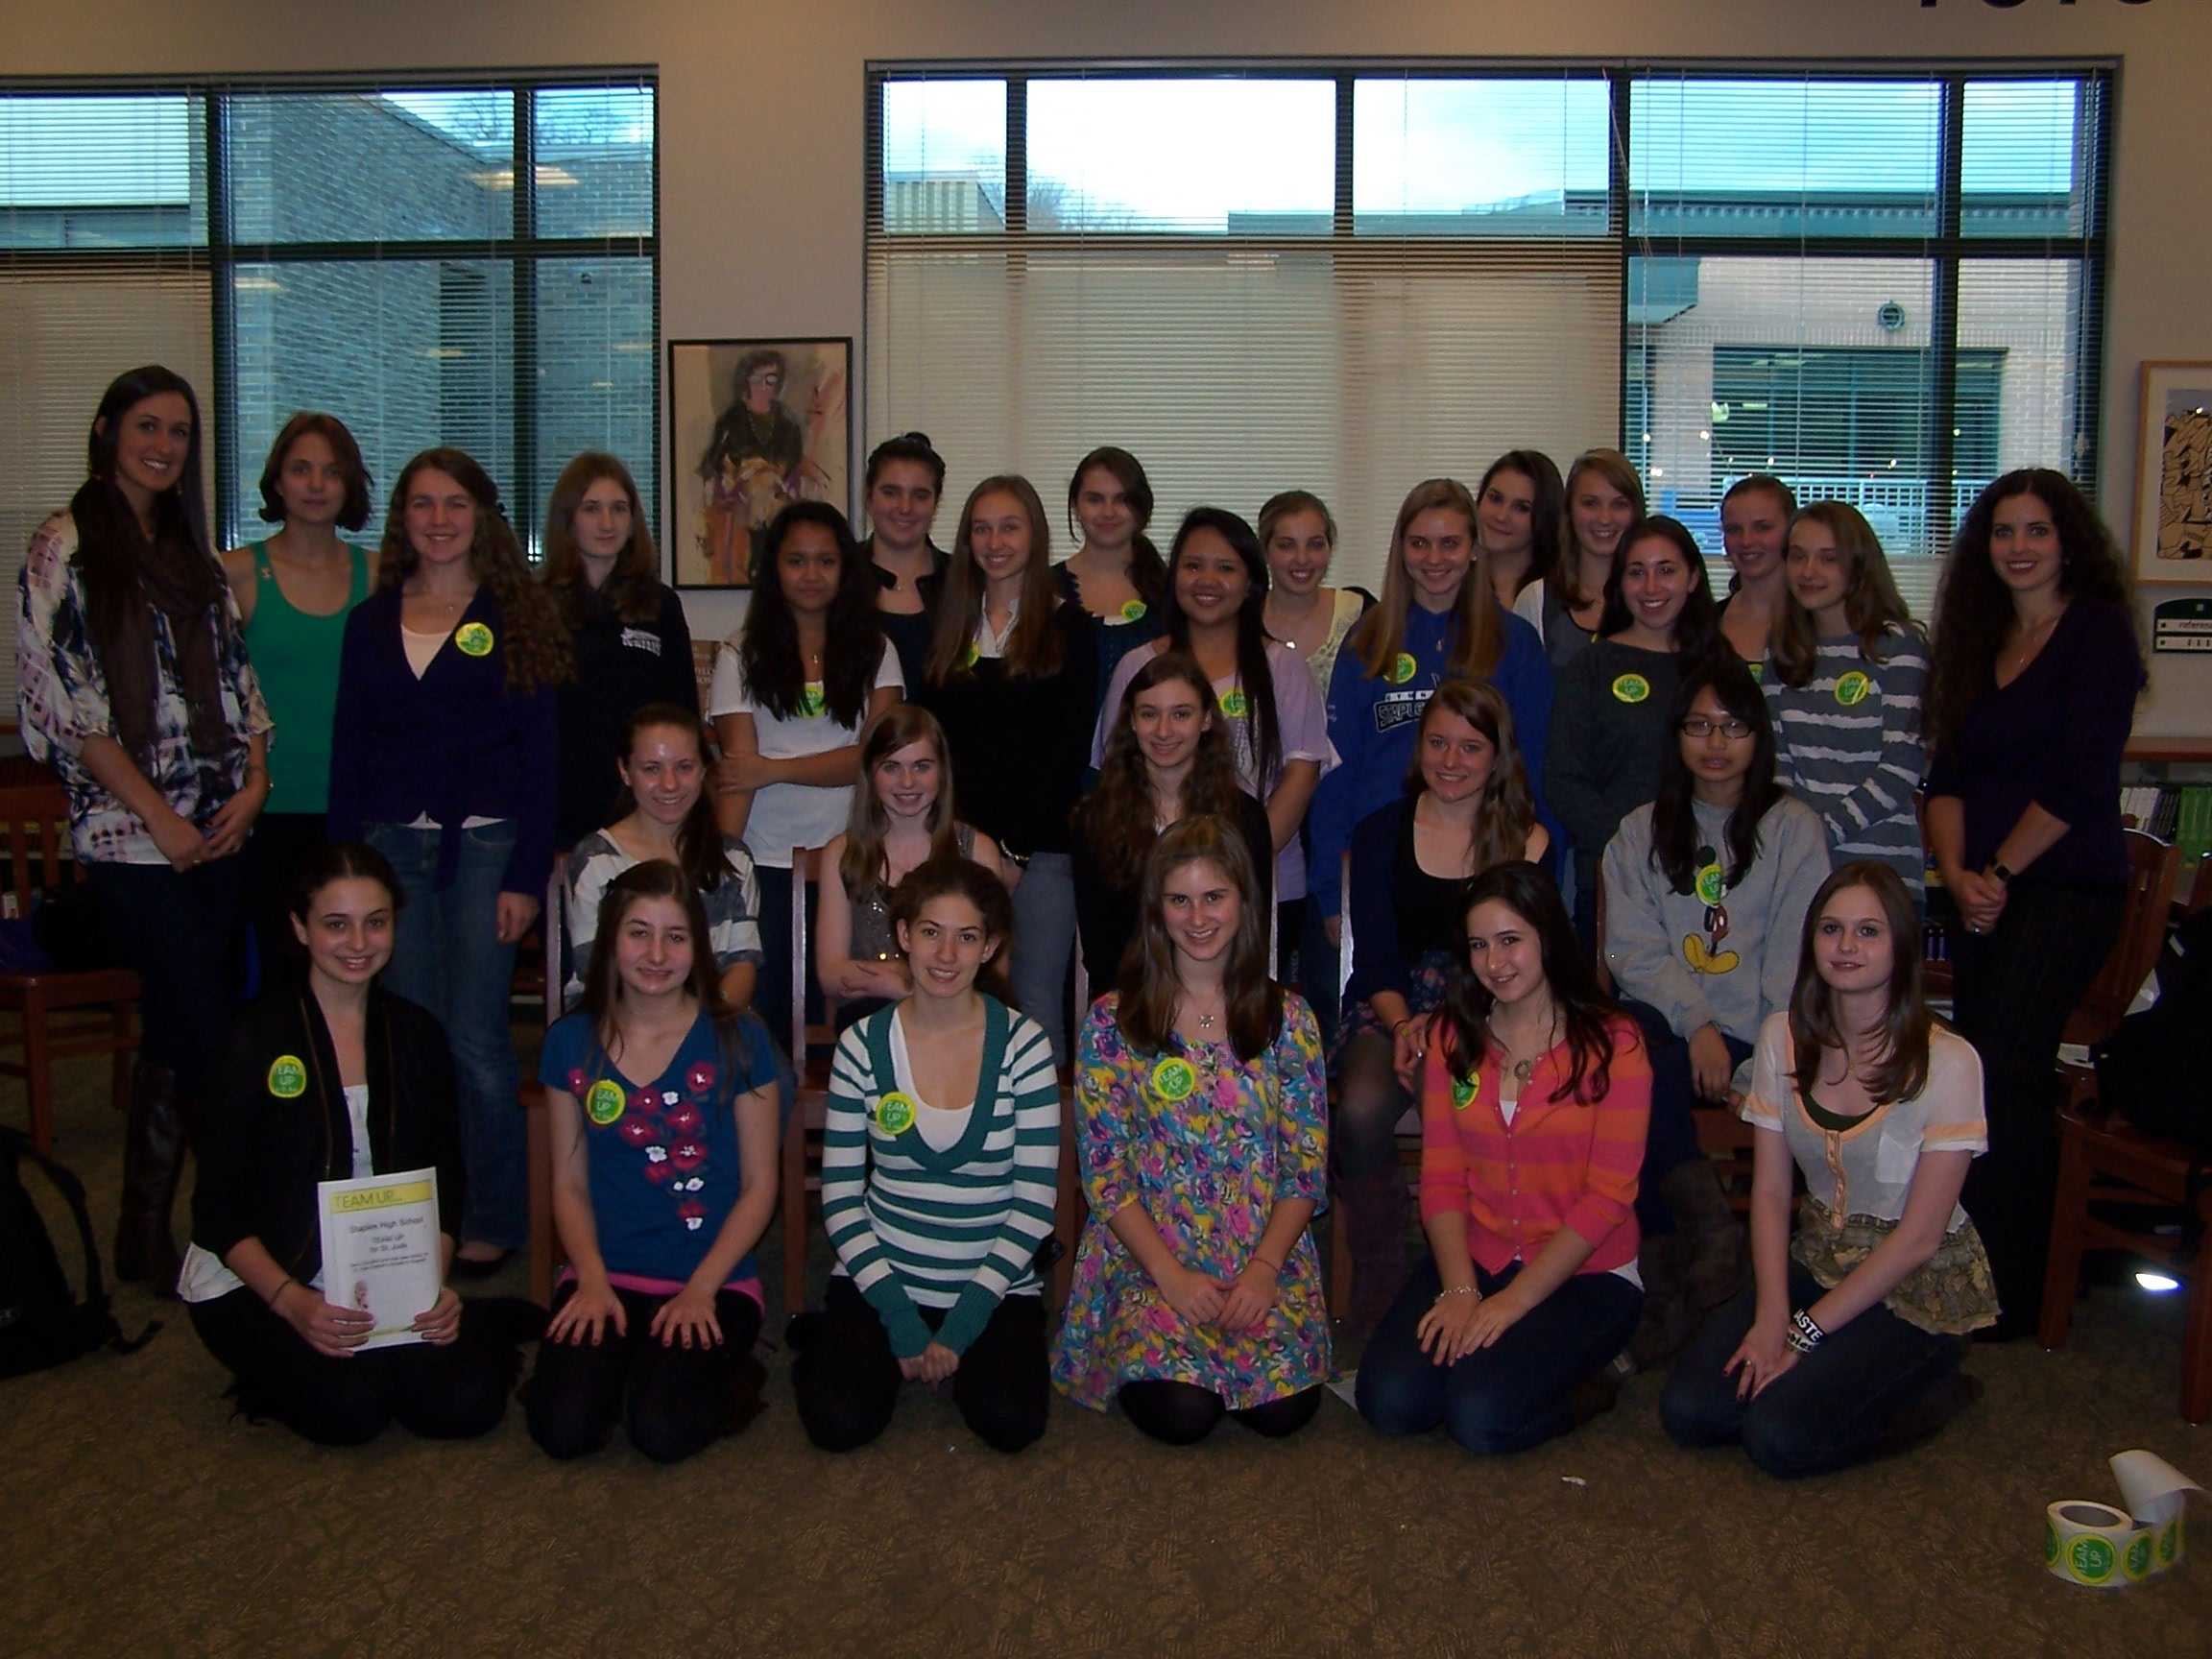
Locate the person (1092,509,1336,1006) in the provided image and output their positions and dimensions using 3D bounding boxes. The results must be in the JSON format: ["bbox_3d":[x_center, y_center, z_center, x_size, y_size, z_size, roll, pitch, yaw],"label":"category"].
[{"bbox_3d":[0.292,0.025,4.988,0.656,1.629,0.522,-3,5,-6],"label":"person"}]

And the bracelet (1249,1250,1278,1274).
[{"bbox_3d":[0.323,0.903,4.050,0.054,0.029,0.051,4,14,16],"label":"bracelet"}]

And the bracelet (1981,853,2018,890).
[{"bbox_3d":[2.098,0.098,4.584,0.058,0.018,0.060,35,-14,14],"label":"bracelet"}]

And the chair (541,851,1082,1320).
[{"bbox_3d":[-0.680,0.499,4.601,0.762,1.301,1.116,-3,6,-26],"label":"chair"}]

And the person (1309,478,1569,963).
[{"bbox_3d":[0.865,-0.096,5.278,0.644,1.646,0.455,3,7,18],"label":"person"}]

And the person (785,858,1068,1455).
[{"bbox_3d":[-0.382,0.801,4.098,0.558,0.827,0.547,-1,14,-3],"label":"person"}]

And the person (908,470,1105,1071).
[{"bbox_3d":[-0.289,0.037,5.068,0.450,1.939,0.581,1,3,44],"label":"person"}]

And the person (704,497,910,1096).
[{"bbox_3d":[-0.835,0.024,5.083,0.518,1.626,0.423,-3,20,-29],"label":"person"}]

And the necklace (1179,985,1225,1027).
[{"bbox_3d":[0.205,0.387,4.220,0.080,0.084,0.033,0,-14,2],"label":"necklace"}]

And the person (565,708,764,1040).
[{"bbox_3d":[-1.030,0.104,4.569,0.485,0.748,0.541,-5,18,-31],"label":"person"}]

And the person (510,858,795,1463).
[{"bbox_3d":[-0.947,0.671,4.041,0.500,1.089,0.592,-2,14,-5],"label":"person"}]

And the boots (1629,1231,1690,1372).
[{"bbox_3d":[1.216,1.033,4.290,0.091,0.285,0.211,15,-10,-22],"label":"boots"}]

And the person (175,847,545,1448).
[{"bbox_3d":[-1.579,0.646,4.044,0.697,1.145,0.533,-3,14,-11],"label":"person"}]

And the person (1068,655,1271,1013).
[{"bbox_3d":[0.122,0.084,4.942,0.560,1.316,0.362,-8,37,-11],"label":"person"}]

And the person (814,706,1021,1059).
[{"bbox_3d":[-0.464,0.143,4.646,0.541,0.814,0.523,13,20,42],"label":"person"}]

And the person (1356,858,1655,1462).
[{"bbox_3d":[0.842,0.674,4.055,0.554,1.116,0.569,4,14,16],"label":"person"}]

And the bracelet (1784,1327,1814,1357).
[{"bbox_3d":[1.406,1.036,3.937,0.059,0.050,0.032,5,15,22],"label":"bracelet"}]

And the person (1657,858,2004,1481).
[{"bbox_3d":[1.461,0.683,3.948,0.619,1.145,0.492,-11,17,-36],"label":"person"}]

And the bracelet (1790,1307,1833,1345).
[{"bbox_3d":[1.414,1.005,3.947,0.048,0.069,0.024,-2,7,2],"label":"bracelet"}]

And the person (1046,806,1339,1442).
[{"bbox_3d":[0.175,0.620,4.086,0.573,1.200,0.533,1,14,4],"label":"person"}]

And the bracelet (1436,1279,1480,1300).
[{"bbox_3d":[0.733,0.960,4.060,0.054,0.023,0.063,1,0,9],"label":"bracelet"}]

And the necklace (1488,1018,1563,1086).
[{"bbox_3d":[0.880,0.468,4.148,0.118,0.126,0.037,-2,-8,31],"label":"necklace"}]
